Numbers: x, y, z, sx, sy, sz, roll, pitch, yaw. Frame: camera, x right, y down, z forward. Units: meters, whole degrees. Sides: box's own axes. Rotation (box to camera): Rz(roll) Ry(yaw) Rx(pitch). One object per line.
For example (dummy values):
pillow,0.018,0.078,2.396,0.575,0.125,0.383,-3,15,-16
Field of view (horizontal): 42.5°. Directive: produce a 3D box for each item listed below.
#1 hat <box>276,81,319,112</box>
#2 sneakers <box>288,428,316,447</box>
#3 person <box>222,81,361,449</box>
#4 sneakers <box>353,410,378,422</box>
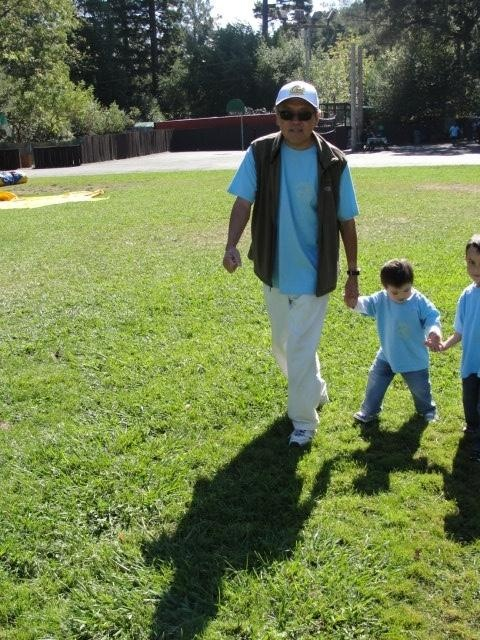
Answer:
hat,0.303,-1.168,3.203,0.217,0.189,0.293,2,9,6
sneakers,0.336,0.665,3.489,0.057,0.075,0.170,0,-8,25
person,0.295,-0.301,3.420,0.816,1.977,0.564,-1,8,-9
sneakers,0.771,0.583,3.774,0.136,0.064,0.059,9,18,-19
